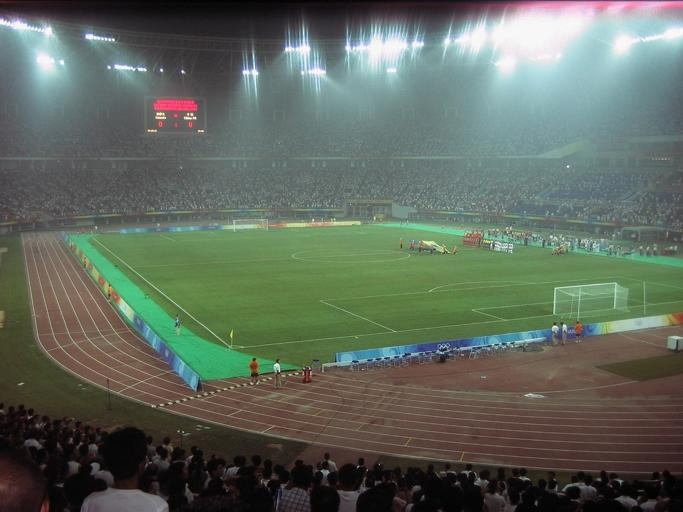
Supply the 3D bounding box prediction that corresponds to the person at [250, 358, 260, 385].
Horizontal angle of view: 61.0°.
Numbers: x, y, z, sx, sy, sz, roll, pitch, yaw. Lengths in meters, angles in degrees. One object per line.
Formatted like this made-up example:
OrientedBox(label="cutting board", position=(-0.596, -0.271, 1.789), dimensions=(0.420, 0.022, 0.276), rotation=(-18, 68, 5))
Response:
OrientedBox(label="person", position=(-4.261, 5.350, 28.210), dimensions=(0.432, 1.161, 1.580), rotation=(-2, 7, -9))
